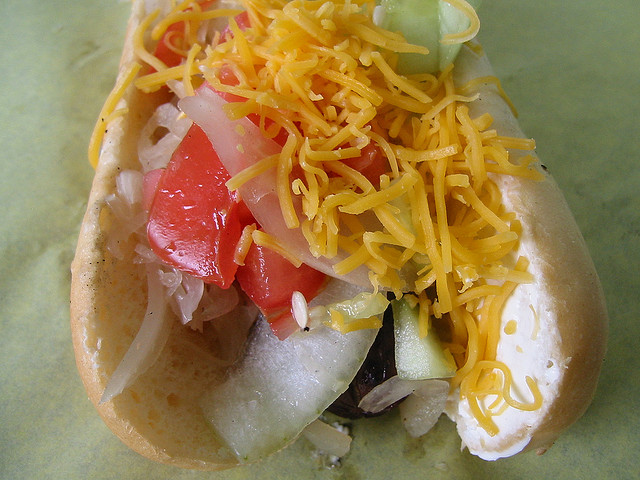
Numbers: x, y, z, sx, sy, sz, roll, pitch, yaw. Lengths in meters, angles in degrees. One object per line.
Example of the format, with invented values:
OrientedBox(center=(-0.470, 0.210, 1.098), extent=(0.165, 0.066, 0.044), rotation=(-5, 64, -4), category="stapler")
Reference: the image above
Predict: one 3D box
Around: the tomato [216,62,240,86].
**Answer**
OrientedBox(center=(-0.231, -0.402, 1.828), extent=(0.040, 0.029, 0.061), rotation=(-33, 76, -8), category="tomato")

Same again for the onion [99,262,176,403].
OrientedBox(center=(-0.440, 0.240, 1.891), extent=(0.143, 0.089, 0.349), rotation=(25, 71, -27), category="onion")

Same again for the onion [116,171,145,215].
OrientedBox(center=(-0.498, -0.126, 1.957), extent=(0.078, 0.027, 0.109), rotation=(-4, 83, 0), category="onion")

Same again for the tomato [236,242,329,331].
OrientedBox(center=(-0.089, 0.103, 1.883), extent=(0.187, 0.077, 0.196), rotation=(-41, 93, 24), category="tomato")

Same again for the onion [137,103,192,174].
OrientedBox(center=(-0.404, -0.248, 2.076), extent=(0.150, 0.052, 0.206), rotation=(32, 92, 37), category="onion")

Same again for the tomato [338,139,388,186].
OrientedBox(center=(0.113, -0.195, 1.848), extent=(0.087, 0.040, 0.118), rotation=(-28, 109, -17), category="tomato")

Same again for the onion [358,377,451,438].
OrientedBox(center=(0.183, 0.412, 1.985), extent=(0.156, 0.180, 0.046), rotation=(-14, 94, -19), category="onion")
